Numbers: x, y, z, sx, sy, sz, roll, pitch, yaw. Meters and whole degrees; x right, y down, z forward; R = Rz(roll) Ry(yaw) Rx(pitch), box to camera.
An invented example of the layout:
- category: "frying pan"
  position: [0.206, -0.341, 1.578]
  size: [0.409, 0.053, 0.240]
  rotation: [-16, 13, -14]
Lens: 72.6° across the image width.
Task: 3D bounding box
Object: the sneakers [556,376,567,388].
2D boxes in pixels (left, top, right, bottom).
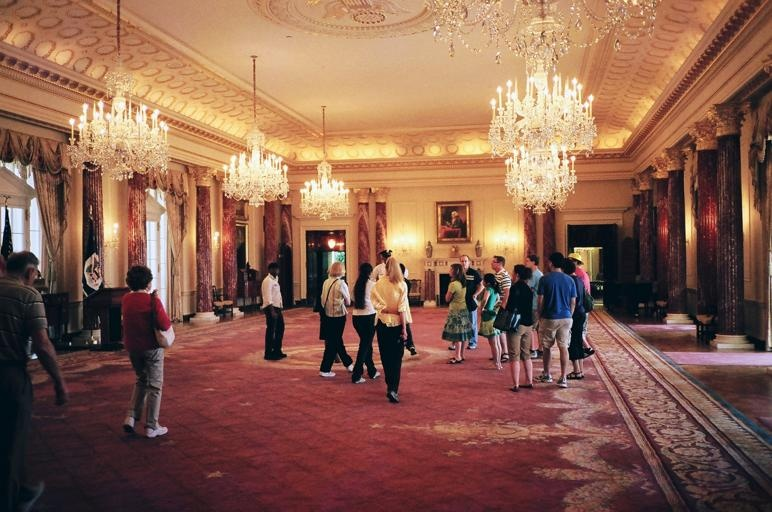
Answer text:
- category: "sneakers"
  position: [2.719, 1.934, 8.116]
  size: [0.087, 0.095, 0.218]
  rotation: [1, 2, 10]

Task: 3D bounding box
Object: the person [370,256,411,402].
- category: "person"
  position: [0.065, 1.050, 7.563]
  size: [0.516, 2.056, 0.424]
  rotation: [0, 0, -1]

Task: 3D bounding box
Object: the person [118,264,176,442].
- category: "person"
  position: [-2.882, 1.157, 6.376]
  size: [0.594, 2.076, 0.316]
  rotation: [0, 0, 1]

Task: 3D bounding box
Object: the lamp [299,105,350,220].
- category: "lamp"
  position: [-2.039, -3.068, 17.303]
  size: [1.751, 3.940, 1.765]
  rotation: [11, 15, 42]

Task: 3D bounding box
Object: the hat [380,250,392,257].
- category: "hat"
  position: [-0.010, -0.056, 10.428]
  size: [0.139, 0.087, 0.183]
  rotation: [-9, 6, -40]

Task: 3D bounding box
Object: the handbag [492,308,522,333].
- category: "handbag"
  position: [1.807, 0.950, 7.784]
  size: [0.196, 0.366, 0.520]
  rotation: [7, -1, -24]

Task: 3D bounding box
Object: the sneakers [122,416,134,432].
- category: "sneakers"
  position: [-3.118, 2.047, 6.382]
  size: [0.126, 0.227, 0.165]
  rotation: [0, 0, -30]

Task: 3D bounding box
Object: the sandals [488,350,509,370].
- category: "sandals"
  position: [2.077, 1.903, 9.614]
  size: [0.262, 0.150, 0.463]
  rotation: [1, 5, 10]

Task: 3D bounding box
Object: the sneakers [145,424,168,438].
- category: "sneakers"
  position: [-2.798, 2.133, 6.473]
  size: [0.301, 0.133, 0.112]
  rotation: [-2, 5, -44]

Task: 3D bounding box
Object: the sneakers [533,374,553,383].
- category: "sneakers"
  position: [2.504, 1.943, 8.443]
  size: [0.306, 0.135, 0.128]
  rotation: [0, -3, 26]

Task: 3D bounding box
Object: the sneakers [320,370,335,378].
- category: "sneakers"
  position: [-0.980, 1.992, 8.897]
  size: [0.217, 0.094, 0.097]
  rotation: [1, 0, -17]

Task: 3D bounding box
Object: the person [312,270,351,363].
- category: "person"
  position: [-0.923, 1.045, 9.206]
  size: [0.621, 1.890, 1.050]
  rotation: [0, 0, -6]
